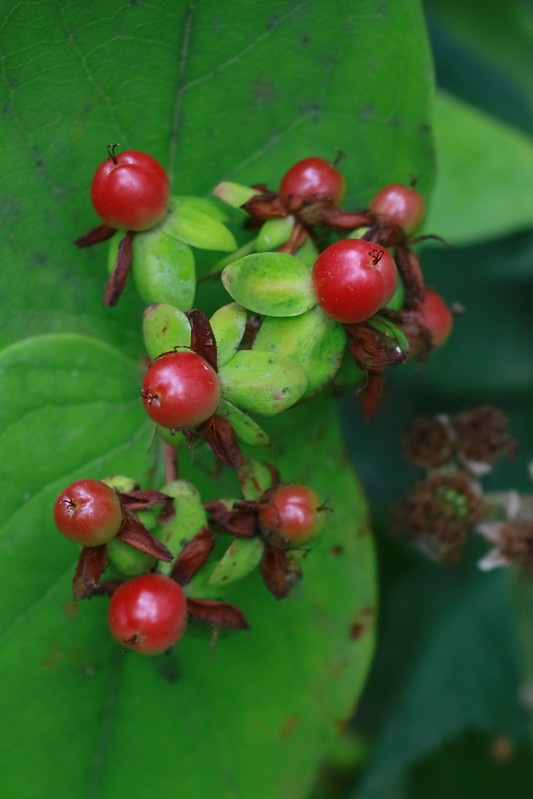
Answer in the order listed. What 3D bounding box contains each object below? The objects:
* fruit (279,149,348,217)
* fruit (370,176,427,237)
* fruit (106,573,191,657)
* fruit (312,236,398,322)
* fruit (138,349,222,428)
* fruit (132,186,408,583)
[{"bbox_3d":[0.043,-0.196,0.676,0.065,0.053,0.047,-25,97,17],"label":"fruit"},{"bbox_3d":[0.120,-0.171,0.675,0.048,0.048,0.050,-21,80,17],"label":"fruit"},{"bbox_3d":[-0.102,0.183,0.641,0.069,0.057,0.058,-9,55,-9],"label":"fruit"},{"bbox_3d":[0.075,-0.098,0.627,0.054,0.065,0.055,38,75,-1],"label":"fruit"},{"bbox_3d":[-0.070,-0.005,0.626,0.063,0.056,0.053,3,54,0],"label":"fruit"},{"bbox_3d":[-0.037,-0.026,0.707,0.153,0.243,0.354,22,101,49],"label":"fruit"}]
